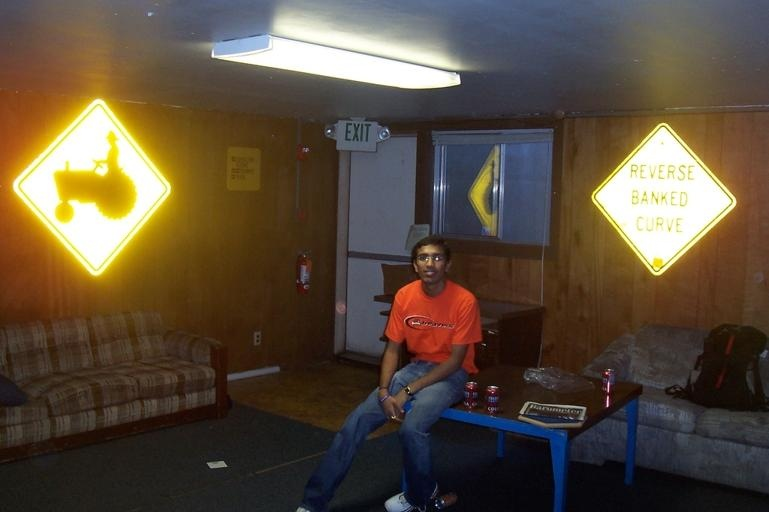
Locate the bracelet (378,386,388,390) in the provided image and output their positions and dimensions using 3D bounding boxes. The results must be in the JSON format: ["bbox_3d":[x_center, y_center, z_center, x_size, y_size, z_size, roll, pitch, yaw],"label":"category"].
[{"bbox_3d":[-0.006,0.926,4.201,0.060,0.027,0.050,0,7,-8],"label":"bracelet"}]

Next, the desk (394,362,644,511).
[{"bbox_3d":[0.931,1.065,4.309,1.087,0.660,1.107,0,3,44],"label":"desk"}]

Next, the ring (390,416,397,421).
[{"bbox_3d":[0.063,1.094,4.077,0.027,0.011,0.035,3,0,12],"label":"ring"}]

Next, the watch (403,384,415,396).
[{"bbox_3d":[0.168,0.927,4.204,0.081,0.053,0.074,36,-9,7],"label":"watch"}]

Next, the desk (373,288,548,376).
[{"bbox_3d":[1.033,0.788,6.585,0.827,1.137,1.250,3,-2,-43],"label":"desk"}]

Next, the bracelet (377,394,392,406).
[{"bbox_3d":[0.000,0.979,4.130,0.051,0.063,0.091,-3,8,-29],"label":"bracelet"}]
